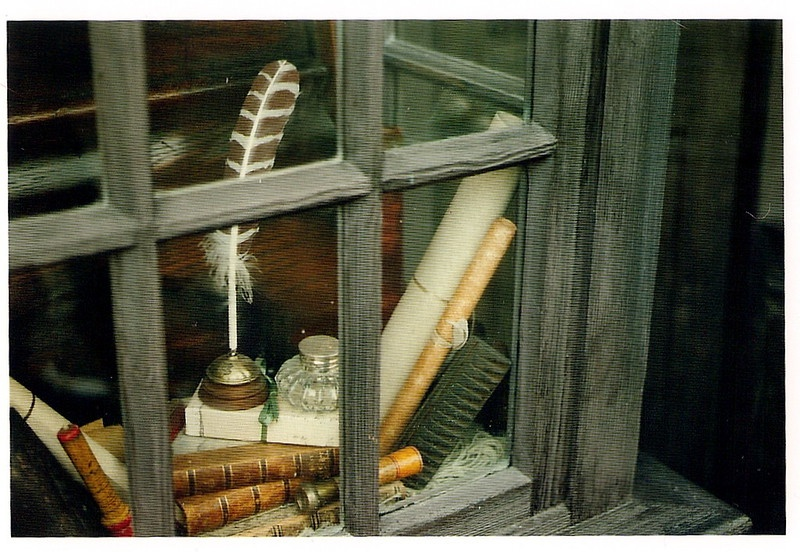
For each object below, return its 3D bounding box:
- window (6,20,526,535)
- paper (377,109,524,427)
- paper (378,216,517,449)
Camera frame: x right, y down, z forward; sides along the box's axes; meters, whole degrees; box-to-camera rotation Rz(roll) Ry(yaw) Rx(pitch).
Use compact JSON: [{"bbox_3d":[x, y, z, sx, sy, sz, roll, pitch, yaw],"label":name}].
[{"bbox_3d":[-0.437,-0.041,2.913,2.094,1.502,0.143,-4,16,-19],"label":"window"},{"bbox_3d":[0.134,-0.057,2.996,0.185,1.011,0.187,32,2,27],"label":"paper"},{"bbox_3d":[0.125,0.141,3.026,0.110,0.834,0.127,41,2,38],"label":"paper"}]
